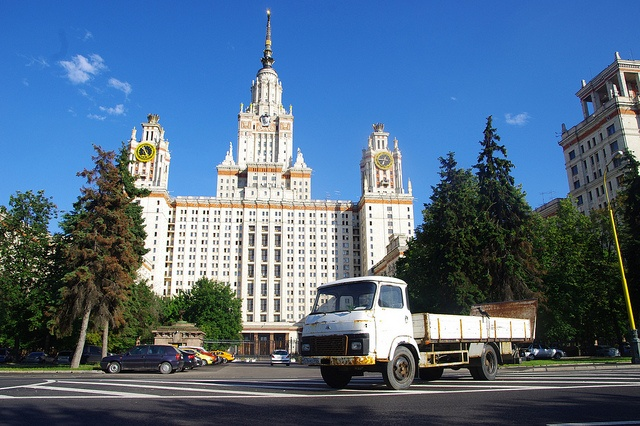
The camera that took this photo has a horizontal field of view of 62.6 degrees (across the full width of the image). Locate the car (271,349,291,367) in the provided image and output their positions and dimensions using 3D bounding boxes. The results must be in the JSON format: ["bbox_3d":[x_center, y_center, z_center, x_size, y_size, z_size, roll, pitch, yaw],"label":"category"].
[{"bbox_3d":[-4.399,15.727,57.561,1.844,1.635,3.323,0,-18,0],"label":"car"}]

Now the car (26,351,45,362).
[{"bbox_3d":[-29.428,14.859,54.023,1.785,0.979,1.085,-3,-18,10],"label":"car"}]

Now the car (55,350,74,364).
[{"bbox_3d":[-24.927,13.980,50.984,1.275,1.364,1.918,14,-22,-37],"label":"car"}]

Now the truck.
[{"bbox_3d":[5.588,6.633,27.783,11.604,4.254,5.270,14,-22,-35],"label":"truck"}]
